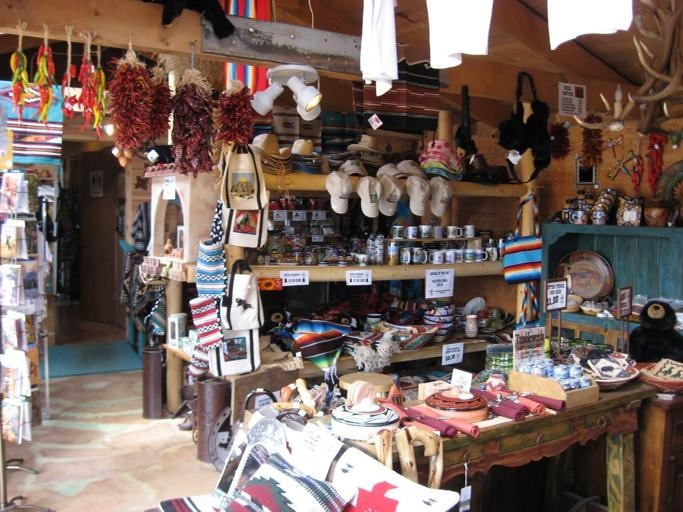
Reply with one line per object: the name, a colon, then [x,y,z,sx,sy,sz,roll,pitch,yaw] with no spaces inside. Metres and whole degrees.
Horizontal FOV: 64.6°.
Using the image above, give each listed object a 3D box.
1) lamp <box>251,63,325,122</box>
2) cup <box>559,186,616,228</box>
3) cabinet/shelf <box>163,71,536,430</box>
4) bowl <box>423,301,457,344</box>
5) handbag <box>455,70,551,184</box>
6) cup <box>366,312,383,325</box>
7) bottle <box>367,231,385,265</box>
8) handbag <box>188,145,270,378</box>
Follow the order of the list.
lamp: [-0.319,-1.012,3.398,0.366,0.198,0.367,12,19,38]
cup: [2.101,-0.419,4.576,0.378,0.173,0.367,-20,23,9]
cabinet/shelf: [0.073,-0.101,5.291,2.535,2.746,2.956,5,-26,1]
bowl: [0.856,0.559,4.755,0.329,0.280,0.295,3,0,6]
handbag: [1.368,-1.021,4.672,0.778,0.950,0.906,-1,-11,-4]
cup: [0.275,0.533,4.604,0.100,0.065,0.095,2,1,0]
bottle: [0.276,-0.058,4.436,0.129,0.237,0.098,-1,6,4]
handbag: [-0.820,0.055,3.919,0.598,1.679,0.347,-1,6,-4]
